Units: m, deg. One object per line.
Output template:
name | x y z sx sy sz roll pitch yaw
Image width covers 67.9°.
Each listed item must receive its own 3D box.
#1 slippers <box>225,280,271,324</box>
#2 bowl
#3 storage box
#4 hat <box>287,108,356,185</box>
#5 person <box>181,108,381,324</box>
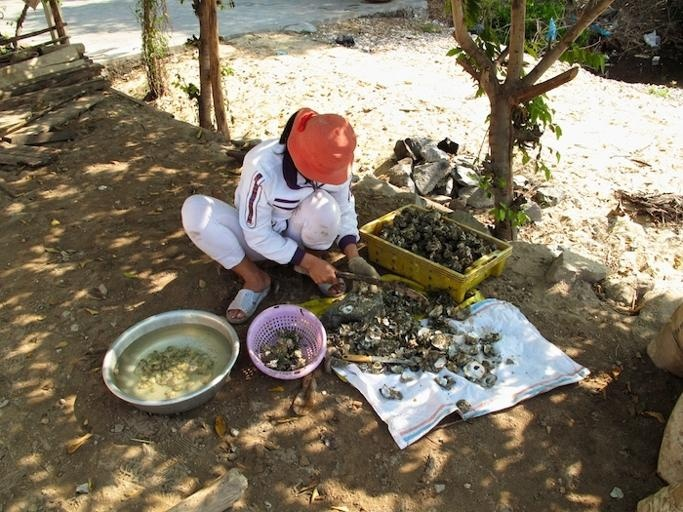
slippers | -0.681 0.336 3.975 0.181 0.134 0.457 24 45 23
bowl | -1.155 0.733 3.497 0.861 0.364 0.728 -17 41 -25
storage box | 0.731 0.038 4.266 1.121 0.299 0.729 23 43 30
hat | -0.168 -0.747 3.491 0.461 0.256 0.484 0 64 -26
person | -0.450 -0.299 3.758 1.332 1.515 0.743 -8 42 -13
